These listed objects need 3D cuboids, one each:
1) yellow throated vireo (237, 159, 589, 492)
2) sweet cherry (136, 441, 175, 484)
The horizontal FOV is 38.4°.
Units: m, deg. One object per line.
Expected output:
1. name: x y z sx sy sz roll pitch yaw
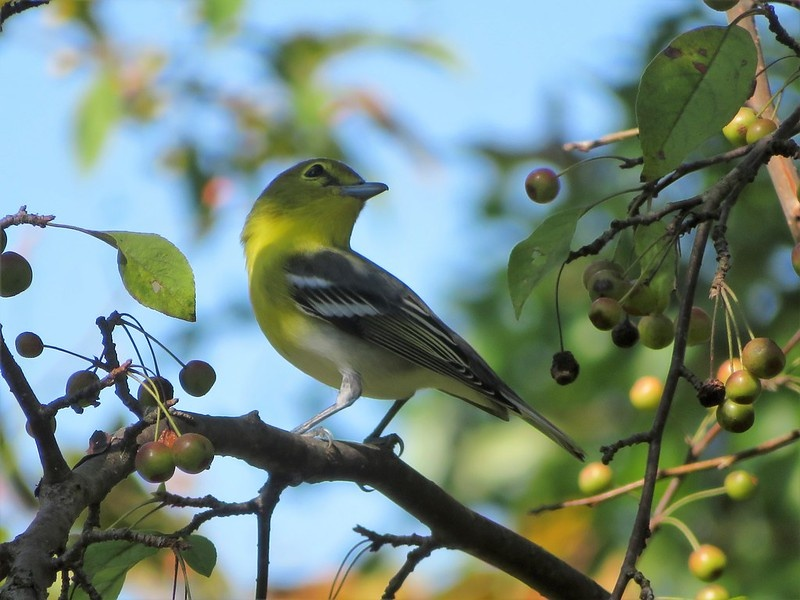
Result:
1. yellow throated vireo: 0.128 0.062 7.287 2.314 1.761 0.987 11 -12 9
2. sweet cherry: -1.019 0.683 4.764 0.154 0.179 0.224 5 -51 -17
